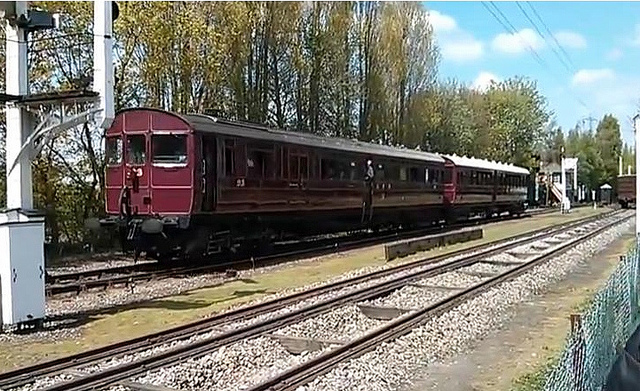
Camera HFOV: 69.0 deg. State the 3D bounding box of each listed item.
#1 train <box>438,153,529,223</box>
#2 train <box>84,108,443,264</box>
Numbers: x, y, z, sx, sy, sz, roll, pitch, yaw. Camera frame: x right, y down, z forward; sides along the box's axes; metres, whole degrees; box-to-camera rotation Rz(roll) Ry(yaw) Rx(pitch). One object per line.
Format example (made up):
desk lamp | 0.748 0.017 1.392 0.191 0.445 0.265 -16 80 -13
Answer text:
train | 14.060 -0.450 40.982 3.742 6.403 20.855 -2 -3 30
train | 1.263 0.246 26.856 4.769 6.450 26.758 -3 -4 36
